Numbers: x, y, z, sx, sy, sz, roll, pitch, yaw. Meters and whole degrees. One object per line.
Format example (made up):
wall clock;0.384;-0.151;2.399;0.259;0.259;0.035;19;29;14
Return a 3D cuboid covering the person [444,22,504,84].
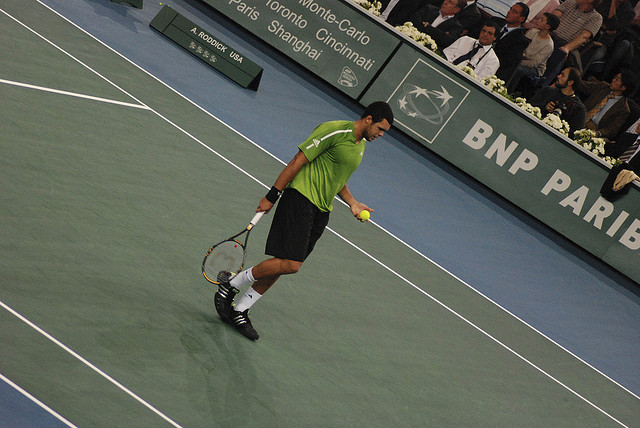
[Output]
person;2.689;-2.749;14.765;0.789;1.146;0.673;37;2;6

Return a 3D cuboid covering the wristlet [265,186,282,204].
wristlet;-0.541;-0.245;10.358;0.143;0.203;0.164;36;12;-4

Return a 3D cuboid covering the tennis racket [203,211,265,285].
tennis racket;-1.018;0.431;10.578;0.493;1.225;0.086;46;24;16

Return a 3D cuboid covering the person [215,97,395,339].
person;-0.239;-0.018;10.333;0.957;3.071;0.550;36;11;-5

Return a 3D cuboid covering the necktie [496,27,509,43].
necktie;3.285;-3.198;15.193;0.092;0.222;0.197;20;14;-22

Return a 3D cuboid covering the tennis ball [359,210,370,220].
tennis ball;0.573;0.008;10.578;0.114;0.107;0.108;-7;1;0

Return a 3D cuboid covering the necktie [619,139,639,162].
necktie;5.210;-1.057;14.290;0.074;0.516;0.073;35;-22;21

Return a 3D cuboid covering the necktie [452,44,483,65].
necktie;2.601;-2.791;14.884;0.259;0.426;0.134;36;11;-3

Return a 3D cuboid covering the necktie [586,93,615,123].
necktie;4.859;-1.868;14.806;0.134;0.627;0.134;24;17;-49
